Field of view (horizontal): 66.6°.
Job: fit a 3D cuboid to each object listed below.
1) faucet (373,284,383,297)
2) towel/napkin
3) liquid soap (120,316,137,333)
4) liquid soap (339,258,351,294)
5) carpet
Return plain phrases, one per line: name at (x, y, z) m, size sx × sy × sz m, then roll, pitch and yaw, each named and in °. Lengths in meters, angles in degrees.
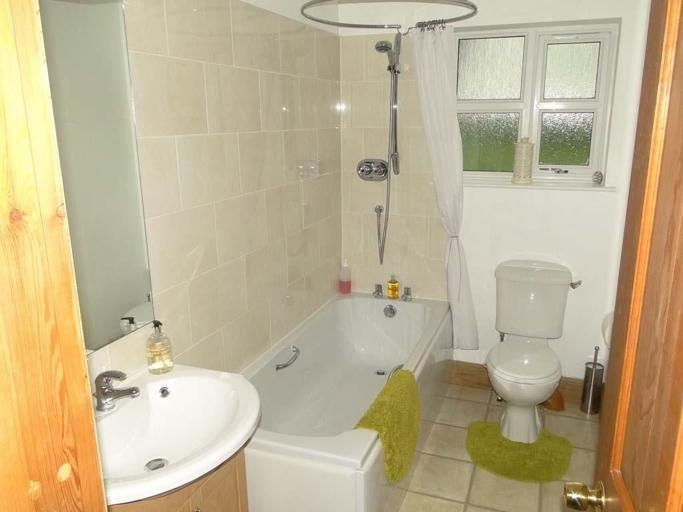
faucet at (0.266, 0.256, 3.837) m, size 0.056 × 0.107 × 0.054 m, roll 10°, pitch 18°, yaw 31°
towel/napkin at (0.225, 0.834, 2.471) m, size 0.169 × 0.280 × 0.560 m, roll 3°, pitch 8°, yaw 16°
liquid soap at (-0.826, 0.264, 2.005) m, size 0.046 × 0.055 × 0.052 m, roll -5°, pitch 10°, yaw -39°
liquid soap at (0.018, 0.156, 3.886) m, size 0.101 × 0.237 × 0.131 m, roll -1°, pitch 18°, yaw 1°
carpet at (1.040, 1.148, 3.041) m, size 0.610 × 0.039 × 0.524 m, roll 4°, pitch 20°, yaw 15°
